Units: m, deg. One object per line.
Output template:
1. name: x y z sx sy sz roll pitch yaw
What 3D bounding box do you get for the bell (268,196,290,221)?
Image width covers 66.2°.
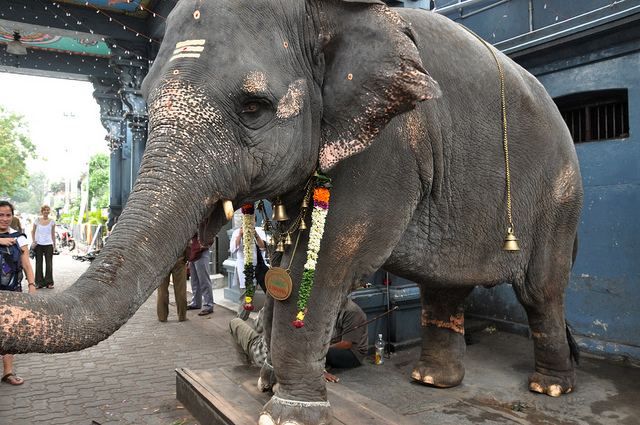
1. bell: -0.312 -0.024 3.912 0.129 0.203 0.188 4 2 -12

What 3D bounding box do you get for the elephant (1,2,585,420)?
1. elephant: 0.506 0.019 5.303 6.164 3.402 2.828 4 -5 -27

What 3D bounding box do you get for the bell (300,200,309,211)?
1. bell: -0.118 -0.050 3.882 0.073 0.078 0.072 1 -20 4

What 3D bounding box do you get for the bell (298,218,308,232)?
1. bell: -0.117 0.094 3.902 0.088 0.100 0.077 1 -3 1

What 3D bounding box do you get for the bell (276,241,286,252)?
1. bell: -0.318 0.287 4.019 0.076 0.081 0.075 1 -2 -4

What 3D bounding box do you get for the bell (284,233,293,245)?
1. bell: -0.252 0.229 3.896 0.054 0.054 0.049 0 -5 1
